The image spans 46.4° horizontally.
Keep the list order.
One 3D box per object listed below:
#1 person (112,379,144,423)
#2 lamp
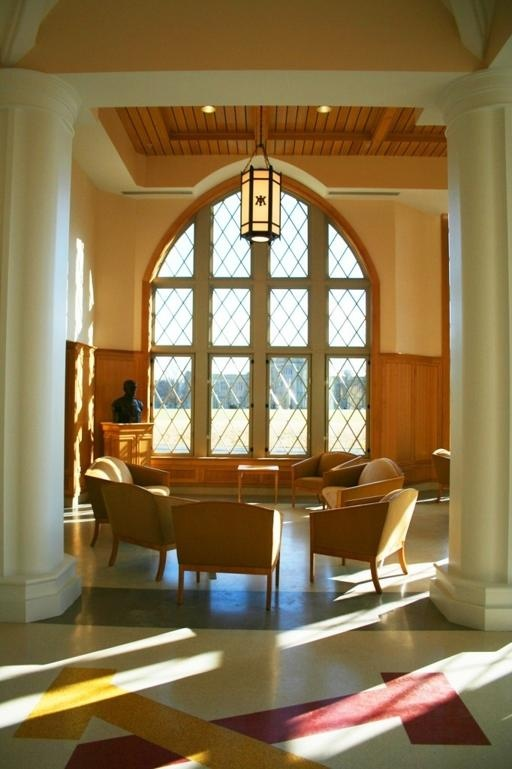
[{"bbox_3d":[-1.852,0.239,8.518,0.552,0.820,0.391,3,-8,-36],"label":"person"},{"bbox_3d":[0.044,-1.873,6.142,0.388,0.792,0.325,1,-2,1],"label":"lamp"}]
